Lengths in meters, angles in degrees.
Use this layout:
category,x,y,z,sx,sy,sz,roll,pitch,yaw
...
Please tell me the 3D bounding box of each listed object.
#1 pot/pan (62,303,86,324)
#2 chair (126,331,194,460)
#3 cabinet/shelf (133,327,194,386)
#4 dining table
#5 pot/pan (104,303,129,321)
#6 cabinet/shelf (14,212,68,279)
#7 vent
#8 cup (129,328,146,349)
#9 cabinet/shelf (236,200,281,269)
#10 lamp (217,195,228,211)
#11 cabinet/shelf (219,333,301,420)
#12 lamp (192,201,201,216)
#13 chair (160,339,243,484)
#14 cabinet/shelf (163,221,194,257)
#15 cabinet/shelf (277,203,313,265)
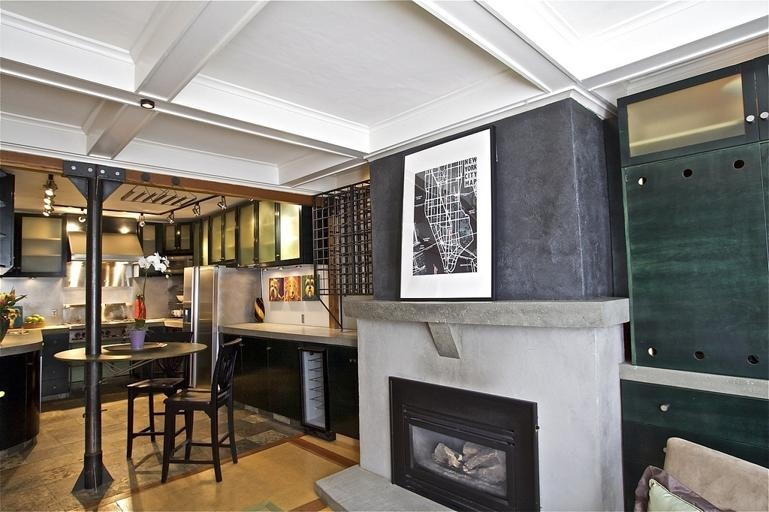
category,x,y,z,sx,sy,sz,roll,pitch,yaw
pot/pan,-4.643,0.843,7.591,0.266,0.277,0.221,-2,5,-13
chair,-2.448,1.449,5.244,0.585,1.047,0.535,6,-14,-28
cabinet/shelf,-2.420,1.219,5.697,0.428,0.663,0.459,4,21,-23
dining table,-2.460,1.240,4.812,1.014,0.603,0.981,-10,-8,15
pot/pan,-4.321,0.885,8.133,0.293,0.246,0.132,6,-14,-41
cabinet/shelf,-4.843,-0.157,7.141,0.612,0.884,0.185,-4,6,-31
vent,-4.341,0.014,7.900,0.991,1.203,0.695,1,1,-43
cup,-2.325,0.781,4.800,0.182,0.199,0.180,1,-6,0
cabinet/shelf,-1.583,-0.306,6.880,1.024,0.865,0.373,-2,-2,45
lamp,-2.135,-0.722,6.690,0.144,0.160,0.090,2,6,-24
cabinet/shelf,-1.252,1.384,6.057,1.435,0.910,0.831,-5,-11,40
lamp,-2.349,-0.609,6.331,0.109,0.173,2.015,-3,5,-20
chair,-1.715,1.418,4.731,0.711,1.056,0.650,0,-6,-19
cabinet/shelf,-3.413,-0.293,8.538,0.622,0.554,0.209,-1,-3,16
cabinet/shelf,-1.099,-0.281,6.259,0.586,0.738,0.179,3,7,39
